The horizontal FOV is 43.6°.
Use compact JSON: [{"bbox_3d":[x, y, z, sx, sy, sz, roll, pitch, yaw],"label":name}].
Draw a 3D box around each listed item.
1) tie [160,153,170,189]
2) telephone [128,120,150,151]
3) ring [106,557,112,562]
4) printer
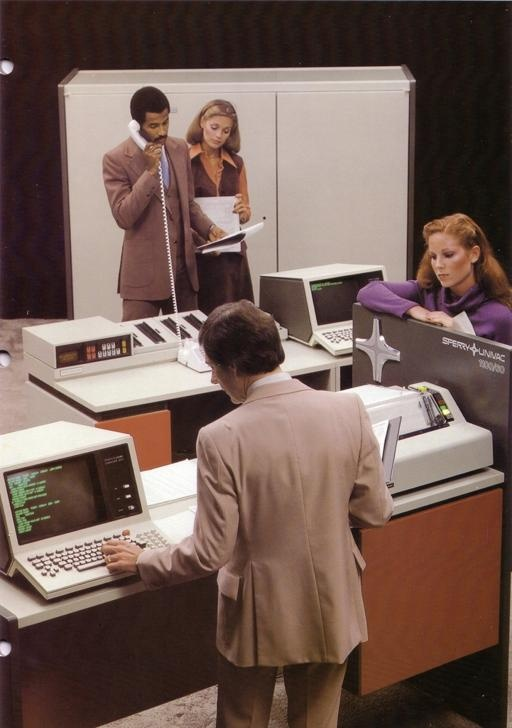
[{"bbox_3d":[-0.499,-1.093,3.610,0.022,0.208,0.065,6,19,38],"label":"tie"},{"bbox_3d":[-0.629,-1.239,3.467,0.091,0.161,0.171,-9,15,-9],"label":"telephone"},{"bbox_3d":[-0.293,0.394,1.294,0.007,0.013,0.012,2,-6,-7],"label":"ring"},{"bbox_3d":[0.454,0.134,1.823,0.382,0.246,0.382,-11,22,-25],"label":"printer"}]
